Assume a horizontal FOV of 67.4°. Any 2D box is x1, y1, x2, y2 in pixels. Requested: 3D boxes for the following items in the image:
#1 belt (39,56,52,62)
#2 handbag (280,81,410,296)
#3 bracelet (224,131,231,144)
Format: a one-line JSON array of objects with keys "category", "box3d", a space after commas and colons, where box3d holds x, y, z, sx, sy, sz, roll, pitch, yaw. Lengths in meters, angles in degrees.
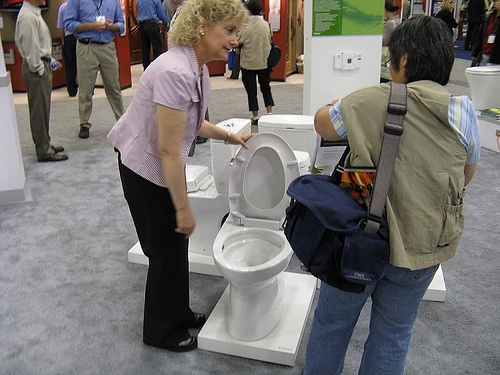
[{"category": "belt", "box3d": [-2.529, -1.559, 4.592, 0.103, 0.042, 0.147, 1, 15, -3]}, {"category": "handbag", "box3d": [0.369, 0.006, 1.491, 0.330, 0.721, 0.508, 11, 12, -8]}, {"category": "bracelet", "box3d": [-0.141, -0.304, 2.340, 0.023, 0.067, 0.059, 9, 66, -9]}]
